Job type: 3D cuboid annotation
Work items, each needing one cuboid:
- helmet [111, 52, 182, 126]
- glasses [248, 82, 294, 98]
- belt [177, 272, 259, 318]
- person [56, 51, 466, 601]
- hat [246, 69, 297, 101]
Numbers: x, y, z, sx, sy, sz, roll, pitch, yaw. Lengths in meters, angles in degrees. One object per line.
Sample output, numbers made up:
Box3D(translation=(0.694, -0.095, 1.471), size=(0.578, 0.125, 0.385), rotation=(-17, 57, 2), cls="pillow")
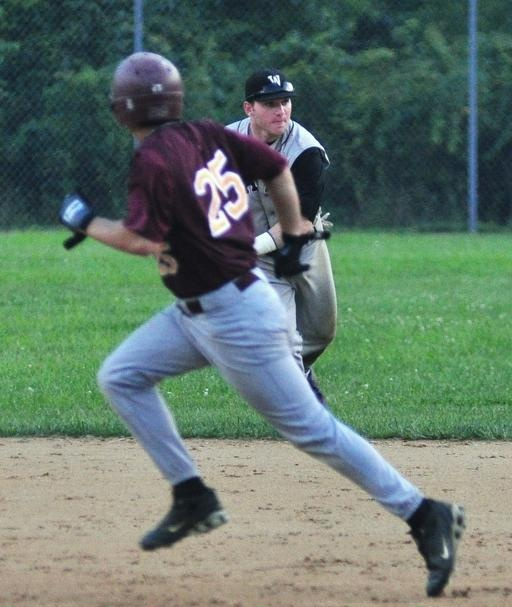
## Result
Box3D(translation=(-0.370, -0.801, 4.209), size=(0.349, 0.220, 0.266), rotation=(5, 7, 34), cls="helmet")
Box3D(translation=(0.053, -1.056, 5.349), size=(0.133, 0.063, 0.154), rotation=(-5, 1, -25), cls="glasses")
Box3D(translation=(-0.147, -0.034, 4.099), size=(0.254, 0.077, 0.173), rotation=(-23, 1, 19), cls="belt")
Box3D(translation=(-0.051, 0.002, 4.202), size=(1.360, 1.879, 0.557), rotation=(0, 16, -1), cls="person")
Box3D(translation=(0.057, -1.069, 5.375), size=(0.183, 0.089, 0.217), rotation=(-5, 4, -23), cls="hat")
